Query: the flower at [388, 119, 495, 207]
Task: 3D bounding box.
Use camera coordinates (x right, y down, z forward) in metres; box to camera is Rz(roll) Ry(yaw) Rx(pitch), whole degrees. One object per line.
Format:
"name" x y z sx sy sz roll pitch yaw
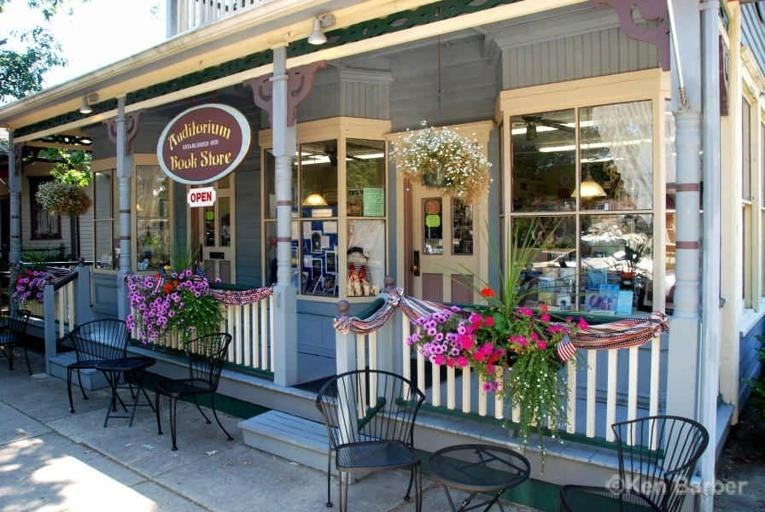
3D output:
"flower" 0.642 -0.974 6.822 0.888 0.758 0.402 0 2 9

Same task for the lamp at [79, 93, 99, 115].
"lamp" -4.014 -2.099 8.884 0.223 0.305 0.286 1 -2 42

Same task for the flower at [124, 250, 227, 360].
"flower" -2.768 0.521 7.953 1.526 1.029 1.112 4 9 -31

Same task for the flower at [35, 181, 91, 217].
"flower" -5.357 -0.940 11.112 0.834 0.506 0.856 -3 -5 42

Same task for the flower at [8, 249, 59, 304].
"flower" -5.291 0.416 9.797 0.930 0.632 0.358 1 3 37
